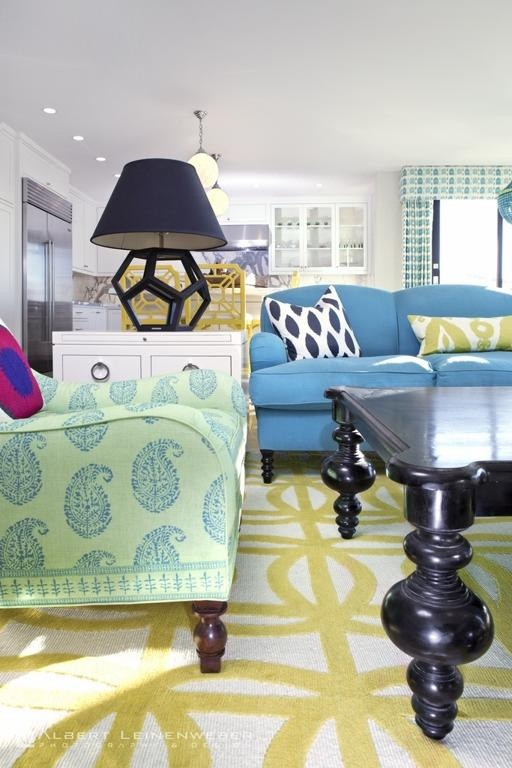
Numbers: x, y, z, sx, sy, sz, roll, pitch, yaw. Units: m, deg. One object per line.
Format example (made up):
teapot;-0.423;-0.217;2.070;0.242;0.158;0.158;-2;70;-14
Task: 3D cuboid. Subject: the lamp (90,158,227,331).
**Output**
lamp;-0.375;-0.538;2.333;0.510;0.664;0.531;-2;5;-15

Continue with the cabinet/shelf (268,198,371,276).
cabinet/shelf;0.806;-1.845;7.297;1.261;0.848;0.241;0;2;1

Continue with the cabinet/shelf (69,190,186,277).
cabinet/shelf;-1.690;-1.748;7.456;0.826;1.503;1.591;1;4;-2
